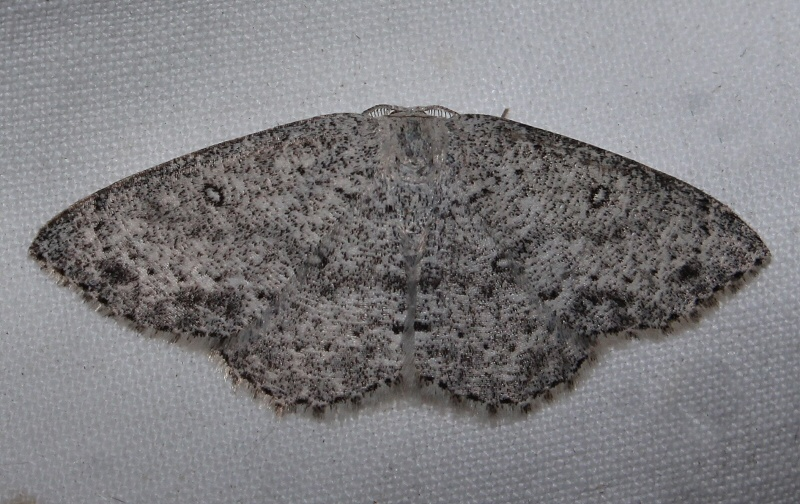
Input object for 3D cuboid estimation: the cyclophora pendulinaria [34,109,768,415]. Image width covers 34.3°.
[{"bbox_3d":[-0.014,0.072,4.144,2.008,0.222,0.916,2,92,0],"label":"cyclophora pendulinaria"}]
